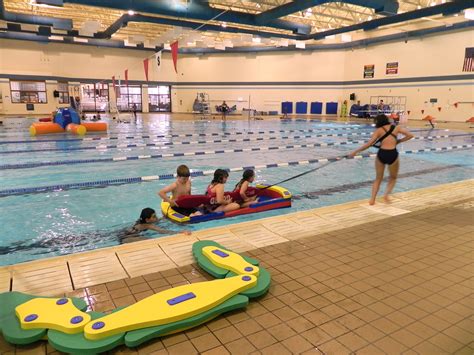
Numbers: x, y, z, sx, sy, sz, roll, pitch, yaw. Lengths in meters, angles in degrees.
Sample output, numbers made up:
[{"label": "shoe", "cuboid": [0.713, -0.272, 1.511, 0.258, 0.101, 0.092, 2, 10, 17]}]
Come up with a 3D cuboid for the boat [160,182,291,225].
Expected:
[{"label": "boat", "cuboid": [-0.087, 0.277, 4.320, 1.696, 0.156, 0.644, -5, 12, -22]}]

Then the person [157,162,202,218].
[{"label": "person", "cuboid": [-0.864, 0.202, 4.799, 0.769, 0.676, 0.567, 24, 36, 23]}]

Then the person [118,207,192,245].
[{"label": "person", "cuboid": [-1.089, 0.539, 3.760, 0.587, 0.338, 1.001, -5, 13, -22]}]

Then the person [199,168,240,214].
[{"label": "person", "cuboid": [-0.210, 0.163, 4.241, 0.475, 0.571, 0.228, -1, 17, -1]}]
